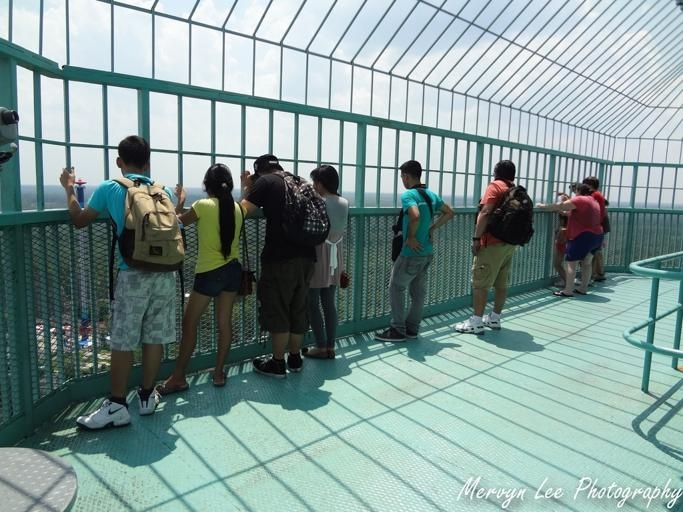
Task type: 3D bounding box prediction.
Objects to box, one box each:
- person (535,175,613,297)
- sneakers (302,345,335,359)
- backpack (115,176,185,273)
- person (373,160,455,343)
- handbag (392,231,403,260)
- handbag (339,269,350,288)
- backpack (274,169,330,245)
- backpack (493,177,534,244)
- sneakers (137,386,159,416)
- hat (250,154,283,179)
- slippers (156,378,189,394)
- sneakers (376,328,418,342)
[{"bbox_3d":[4.705,-0.317,9.312,1.347,2.238,0.743,-10,17,-43],"label":"person"},{"bbox_3d":[-0.272,1.174,5.660,0.359,0.129,0.158,5,5,30],"label":"sneakers"},{"bbox_3d":[-1.646,-0.258,3.985,0.507,0.802,0.361,-4,14,-25],"label":"backpack"},{"bbox_3d":[0.957,-0.070,6.303,0.542,2.410,0.901,9,15,30],"label":"person"},{"bbox_3d":[0.760,-0.127,6.164,0.059,0.391,0.172,-7,15,-35],"label":"handbag"},{"bbox_3d":[0.039,0.274,5.643,0.156,0.261,0.278,2,10,3],"label":"handbag"},{"bbox_3d":[-0.380,-0.477,4.774,0.505,0.672,0.395,-3,13,-19],"label":"backpack"},{"bbox_3d":[2.443,-0.560,6.535,0.597,0.835,0.406,-9,16,-40],"label":"backpack"},{"bbox_3d":[-1.759,1.335,4.307,0.140,0.196,0.313,0,7,0],"label":"sneakers"},{"bbox_3d":[-0.814,-0.977,4.965,0.235,0.250,0.295,-1,16,-7],"label":"hat"},{"bbox_3d":[-1.690,1.315,4.694,0.316,0.111,0.111,4,-4,-29],"label":"slippers"},{"bbox_3d":[0.770,1.060,6.392,0.619,0.216,0.209,3,-7,-4],"label":"sneakers"}]
